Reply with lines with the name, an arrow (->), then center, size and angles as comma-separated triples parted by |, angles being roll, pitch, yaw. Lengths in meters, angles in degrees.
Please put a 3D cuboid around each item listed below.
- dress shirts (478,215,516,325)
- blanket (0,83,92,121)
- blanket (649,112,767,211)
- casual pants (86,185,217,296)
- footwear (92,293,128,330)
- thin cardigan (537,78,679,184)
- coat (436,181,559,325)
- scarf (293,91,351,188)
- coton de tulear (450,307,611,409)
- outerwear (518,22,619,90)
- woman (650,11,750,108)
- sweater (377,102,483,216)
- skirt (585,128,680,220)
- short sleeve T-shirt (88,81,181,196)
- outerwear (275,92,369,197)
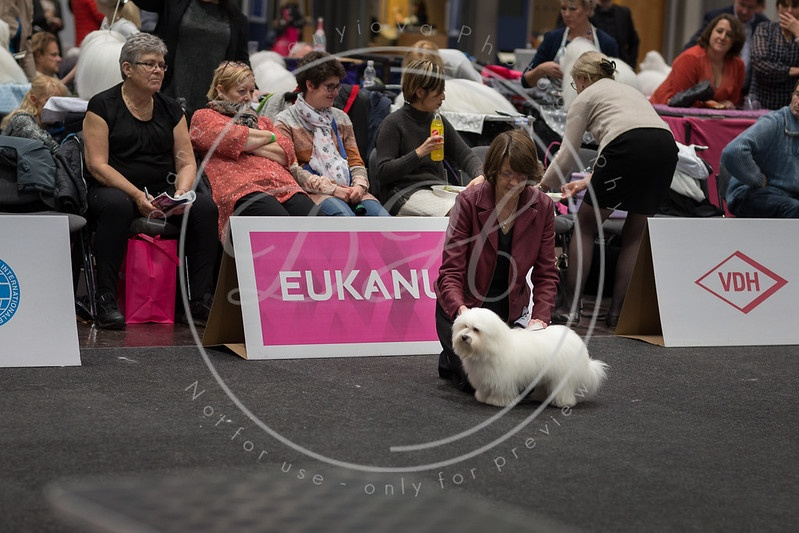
dress shirts -> 0.546, 0.049, 4.116 | 0.262, 0.429, 0.095 | -3, 9, -18
blanket -> -2.710, -1.203, 5.586 | 0.550, 0.235, 0.472 | -2, 5, 29
blanket -> 2.896, -1.022, 7.185 | 0.862, 0.947, 0.940 | -2, 17, 1
casual pants -> -1.635, -0.045, 5.107 | 0.667, 0.857, 0.628 | 6, -13, -12
footwear -> -1.931, 0.286, 4.923 | 0.155, 0.185, 0.377 | -6, 17, -37
thin cardigan -> 1.561, -0.946, 5.402 | 0.694, 0.810, 0.902 | -3, 0, -20
coat -> 0.562, -0.088, 4.115 | 0.566, 0.862, 0.673 | 1, 8, -3
scarf -> -0.552, -0.899, 5.347 | 0.351, 0.692, 0.236 | -12, 1, -16
coton de tulear -> 0.710, 0.500, 3.979 | 0.812, 0.529, 0.360 | 4, 9, -9
outerwear -> 1.566, -1.928, 6.573 | 0.922, 0.778, 0.540 | 0, 10, -5
woman -> 3.003, -1.988, 7.116 | 0.613, 0.936, 0.796 | 7, 25, 6
sweater -> 0.189, -0.757, 5.294 | 0.688, 0.896, 0.701 | -6, 1, -6
skirt -> 1.629, -0.648, 5.213 | 0.613, 0.660, 0.368 | -7, 32, -14
short sleeve T-shirt -> -1.827, -0.851, 5.079 | 0.401, 0.786, 0.694 | 3, 5, 44
outerwear -> -0.547, -0.835, 5.350 | 0.606, 0.876, 0.572 | -8, -5, -29
